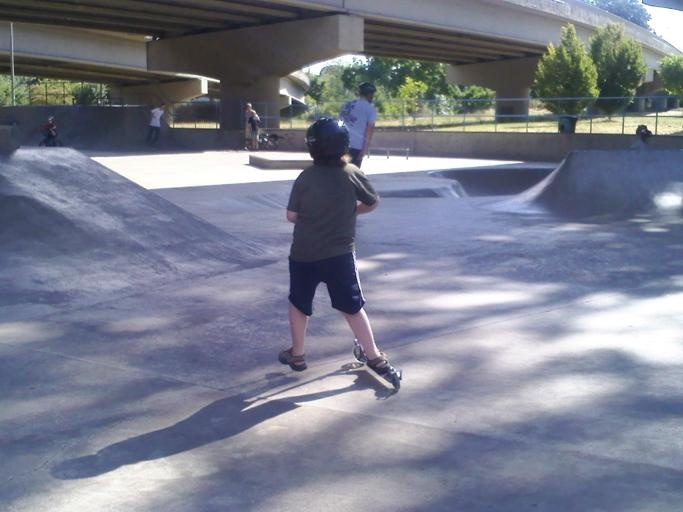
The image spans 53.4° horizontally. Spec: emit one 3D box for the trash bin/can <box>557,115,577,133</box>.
[{"bbox_3d":[7.683,-4.503,23.047,0.389,0.518,0.711,-6,14,-20],"label":"trash bin/can"}]

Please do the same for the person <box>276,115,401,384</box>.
[{"bbox_3d":[-0.041,-0.042,4.254,0.749,1.604,0.400,2,14,8],"label":"person"}]

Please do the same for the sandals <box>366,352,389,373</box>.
[{"bbox_3d":[0.231,0.671,4.320,0.150,0.129,0.099,-2,4,5],"label":"sandals"}]

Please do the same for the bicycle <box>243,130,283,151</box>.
[{"bbox_3d":[-3.147,-4.529,26.701,1.300,0.695,0.764,2,27,2],"label":"bicycle"}]

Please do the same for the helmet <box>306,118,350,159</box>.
[{"bbox_3d":[-0.107,-0.739,4.193,0.239,0.252,0.279,-5,23,-12],"label":"helmet"}]

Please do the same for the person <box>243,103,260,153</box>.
[{"bbox_3d":[-3.413,-4.865,25.624,0.467,1.680,1.061,-3,14,-10],"label":"person"}]

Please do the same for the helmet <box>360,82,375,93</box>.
[{"bbox_3d":[0.337,-2.018,8.210,0.203,0.120,0.169,-11,34,-23],"label":"helmet"}]

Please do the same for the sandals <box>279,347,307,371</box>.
[{"bbox_3d":[-0.334,0.650,4.457,0.106,0.089,0.204,-11,25,-36],"label":"sandals"}]
